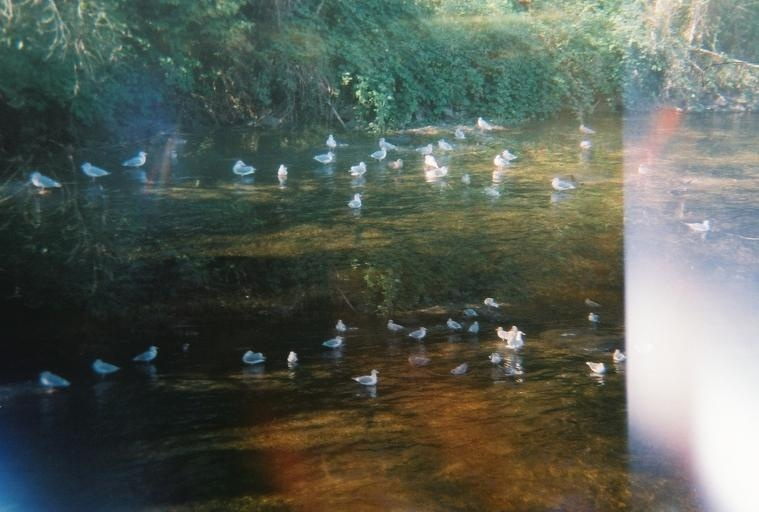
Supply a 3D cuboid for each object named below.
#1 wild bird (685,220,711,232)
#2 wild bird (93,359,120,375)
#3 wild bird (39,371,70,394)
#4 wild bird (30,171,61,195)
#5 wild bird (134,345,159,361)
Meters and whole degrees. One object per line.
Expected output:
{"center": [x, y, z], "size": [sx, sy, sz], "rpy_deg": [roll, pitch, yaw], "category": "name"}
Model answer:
{"center": [8.342, -0.773, 17.950], "size": [0.734, 0.277, 0.492], "rpy_deg": [-1, 6, 4], "category": "wild bird"}
{"center": [-5.209, 2.127, 13.316], "size": [0.394, 0.151, 0.294], "rpy_deg": [4, 4, -44], "category": "wild bird"}
{"center": [-6.075, 2.347, 13.006], "size": [0.561, 0.324, 0.353], "rpy_deg": [-4, 6, -18], "category": "wild bird"}
{"center": [-8.937, -2.015, 18.629], "size": [0.842, 0.528, 0.509], "rpy_deg": [14, 18, 25], "category": "wild bird"}
{"center": [-4.563, 1.936, 13.671], "size": [0.469, 0.295, 0.228], "rpy_deg": [1, 4, -2], "category": "wild bird"}
